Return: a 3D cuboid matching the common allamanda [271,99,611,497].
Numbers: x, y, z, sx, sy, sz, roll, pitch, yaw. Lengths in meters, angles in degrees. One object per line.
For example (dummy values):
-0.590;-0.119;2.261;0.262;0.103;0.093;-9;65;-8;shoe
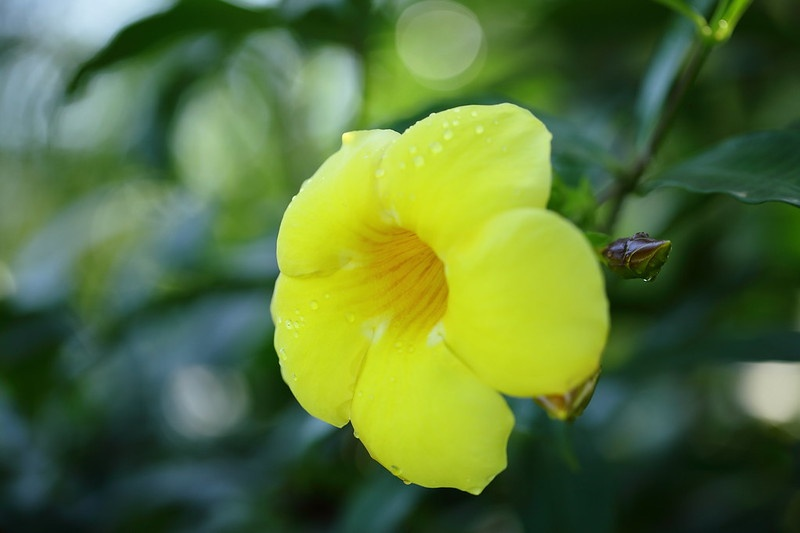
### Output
0.092;0.042;1.449;0.593;0.676;0.201;18;16;34;common allamanda
